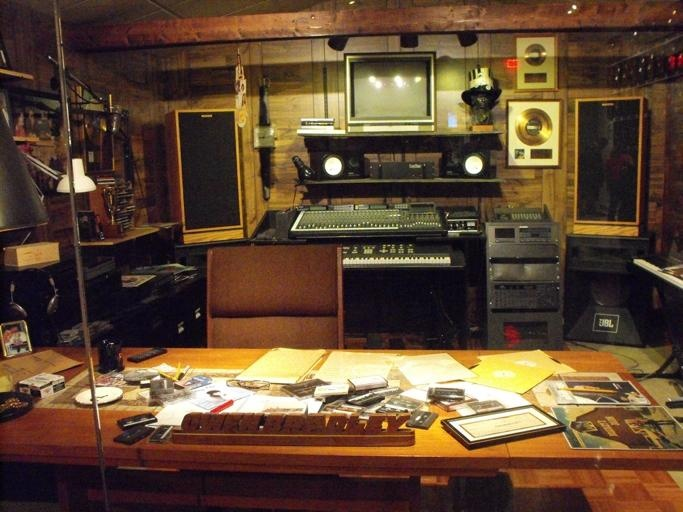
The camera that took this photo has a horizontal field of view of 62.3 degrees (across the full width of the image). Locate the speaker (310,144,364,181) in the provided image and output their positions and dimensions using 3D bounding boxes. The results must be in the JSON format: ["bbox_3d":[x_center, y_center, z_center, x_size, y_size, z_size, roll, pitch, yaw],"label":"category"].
[{"bbox_3d":[0.023,-0.774,4.832,0.515,0.268,0.277,2,5,32],"label":"speaker"}]

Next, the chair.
[{"bbox_3d":[-0.269,0.195,2.999,0.780,0.663,0.518,0,0,4],"label":"chair"}]

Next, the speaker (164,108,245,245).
[{"bbox_3d":[-1.154,-0.673,4.790,0.542,1.101,0.221,-7,11,-28],"label":"speaker"}]

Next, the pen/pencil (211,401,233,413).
[{"bbox_3d":[-0.419,0.528,1.990,0.022,0.020,0.088,8,14,22],"label":"pen/pencil"}]

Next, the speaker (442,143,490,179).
[{"bbox_3d":[1.018,-0.757,4.831,0.468,0.262,0.234,2,-4,-6],"label":"speaker"}]

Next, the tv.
[{"bbox_3d":[0.435,-1.374,4.707,0.722,0.539,0.262,0,2,3],"label":"tv"}]

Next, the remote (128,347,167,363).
[{"bbox_3d":[-0.842,0.418,2.446,0.062,0.015,0.110,3,6,17],"label":"remote"}]
